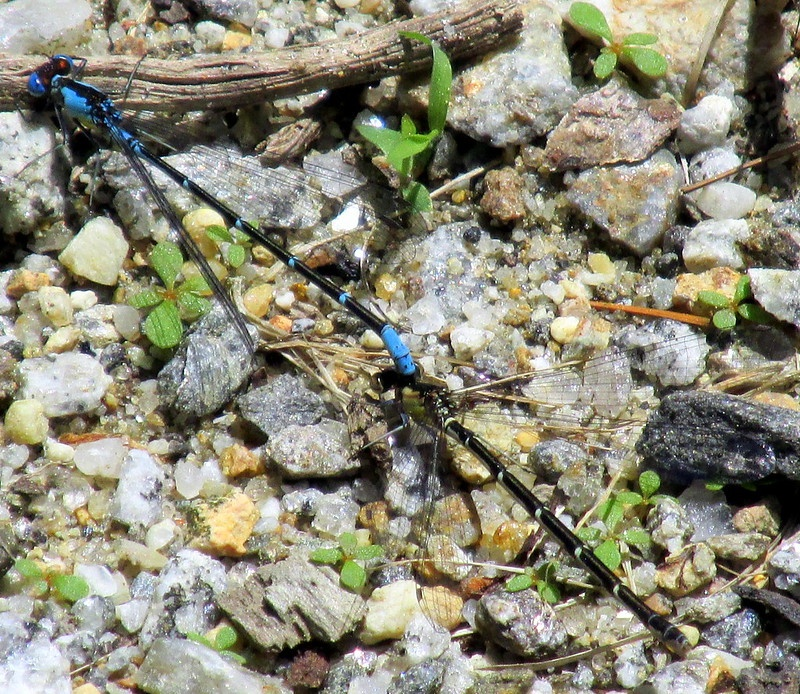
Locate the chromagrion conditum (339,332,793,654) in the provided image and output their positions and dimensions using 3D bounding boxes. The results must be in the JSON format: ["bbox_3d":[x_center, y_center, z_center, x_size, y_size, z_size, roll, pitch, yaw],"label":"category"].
[{"bbox_3d":[0.689,0.463,3.380,1.487,0.293,1.043,-4,71,1],"label":"chromagrion conditum"}]
